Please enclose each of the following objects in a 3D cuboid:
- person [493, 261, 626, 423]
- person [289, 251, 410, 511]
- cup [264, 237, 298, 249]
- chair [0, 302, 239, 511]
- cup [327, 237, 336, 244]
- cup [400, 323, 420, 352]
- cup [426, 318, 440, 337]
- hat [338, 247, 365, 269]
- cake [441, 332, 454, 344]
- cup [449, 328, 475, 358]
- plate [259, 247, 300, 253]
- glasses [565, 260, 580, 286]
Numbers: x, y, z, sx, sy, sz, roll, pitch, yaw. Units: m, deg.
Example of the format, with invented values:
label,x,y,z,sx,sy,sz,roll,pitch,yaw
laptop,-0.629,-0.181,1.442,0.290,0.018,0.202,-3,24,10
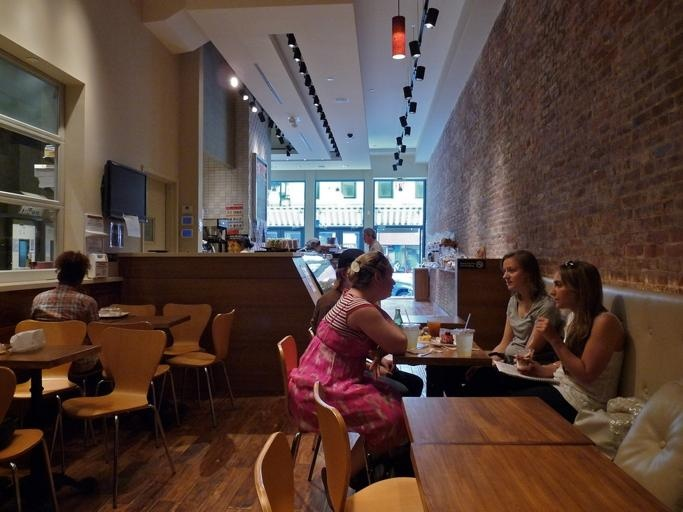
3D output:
label,x,y,z,sx,sy,sz,roll,pitch,yaw
person,1.414,0.733,2.979,0.599,1.330,0.605,4,-6,28
person,0.071,0.691,2.757,0.681,1.407,0.601,-6,9,-27
cup,-0.675,-0.138,5.367,0.231,0.088,0.178,2,-1,2
chair,-1.491,0.985,3.373,0.806,1.013,1.560,2,3,13
cup,-0.210,-0.299,9.054,0.106,0.111,0.199,13,44,-1
cup,0.451,0.513,2.979,0.129,0.154,0.137,0,-7,0
cup,0.678,0.539,3.389,0.087,0.108,0.090,-1,-5,0
hat,0.078,0.013,3.955,0.172,0.193,0.177,9,-9,9
cake,0.725,0.566,3.195,0.064,0.069,0.068,1,-7,-8
cup,0.775,0.559,3.022,0.143,0.163,0.152,0,-10,0
plate,-0.685,-0.062,5.028,0.292,0.039,0.728,1,3,-15
glasses,1.439,0.101,2.919,0.045,0.130,0.091,2,8,-4
